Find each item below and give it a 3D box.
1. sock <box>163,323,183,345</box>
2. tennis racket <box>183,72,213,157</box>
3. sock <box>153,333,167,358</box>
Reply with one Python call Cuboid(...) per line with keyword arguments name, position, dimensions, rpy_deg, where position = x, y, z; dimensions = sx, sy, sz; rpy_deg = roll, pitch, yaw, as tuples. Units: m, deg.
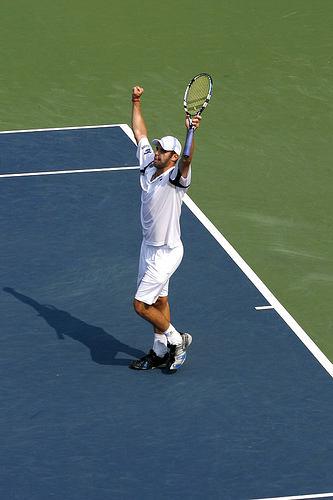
Cuboid(name="sock", position=(0.073, 0.754, 6.344), dimensions=(0.197, 0.223, 0.107), rpy_deg=(-10, 42, -20))
Cuboid(name="tennis racket", position=(0.222, -1.273, 6.466), dimensions=(0.284, 0.856, 0.109), rpy_deg=(8, 4, 28))
Cuboid(name="sock", position=(-0.055, 0.864, 6.482), dimensions=(0.129, 0.221, 0.119), rpy_deg=(6, 39, -2))
